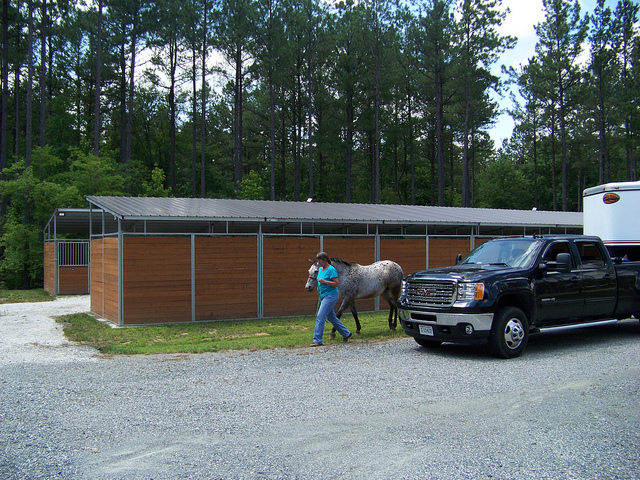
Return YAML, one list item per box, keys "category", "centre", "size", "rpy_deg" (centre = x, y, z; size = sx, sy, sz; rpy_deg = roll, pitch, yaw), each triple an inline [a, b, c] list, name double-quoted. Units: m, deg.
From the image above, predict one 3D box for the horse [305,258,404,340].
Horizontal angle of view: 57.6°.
- category: "horse"
  centre: [1.114, 1.608, 16.584]
  size: [3.064, 2.363, 0.844]
  rpy_deg: [-3, 6, -22]

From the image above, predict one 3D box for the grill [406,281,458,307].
- category: "grill"
  centre: [2.441, 1.199, 13.029]
  size: [0.208, 0.570, 1.351]
  rpy_deg: [-4, 5, -43]

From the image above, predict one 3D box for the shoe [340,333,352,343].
- category: "shoe"
  centre: [0.632, 2.493, 14.939]
  size: [0.282, 0.265, 0.605]
  rpy_deg: [0, 4, 1]

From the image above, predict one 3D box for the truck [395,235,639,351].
- category: "truck"
  centre: [5.064, 1.296, 14.138]
  size: [5.845, 2.197, 2.509]
  rpy_deg: [2, -5, -36]

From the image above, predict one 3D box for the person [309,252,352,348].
- category: "person"
  centre: [0.141, 1.494, 14.459]
  size: [1.070, 2.303, 0.632]
  rpy_deg: [-3, 5, -40]

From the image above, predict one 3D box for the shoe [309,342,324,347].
- category: "shoe"
  centre: [-0.142, 2.572, 14.280]
  size: [0.293, 0.085, 0.271]
  rpy_deg: [0, 4, 5]
